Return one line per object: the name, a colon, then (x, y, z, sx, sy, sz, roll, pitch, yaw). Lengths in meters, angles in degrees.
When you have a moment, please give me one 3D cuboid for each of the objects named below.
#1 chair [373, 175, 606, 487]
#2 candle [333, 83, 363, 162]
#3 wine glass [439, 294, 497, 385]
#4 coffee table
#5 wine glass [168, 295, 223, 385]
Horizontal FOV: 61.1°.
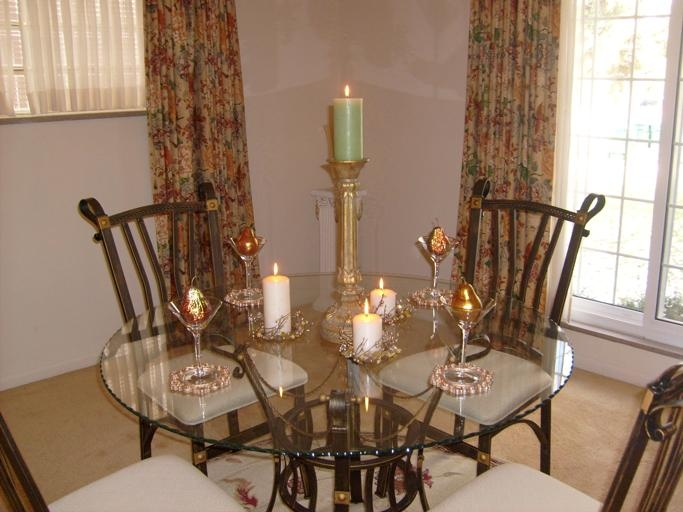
chair: (0.571, 0.363, 2.229, 0.775, 1.271, 0.708, -6, 15, -34)
candle: (0.019, -0.433, 1.916, 0.092, 0.228, 0.068, -4, 19, -14)
wine glass: (0.418, 0.282, 1.917, 0.193, 0.318, 0.199, 3, 14, 12)
coffee table: (-0.049, 0.413, 2.120, 1.073, 0.556, 1.112, -2, 19, -4)
wine glass: (-0.486, 0.285, 1.928, 0.176, 0.257, 0.182, 8, 19, 18)
